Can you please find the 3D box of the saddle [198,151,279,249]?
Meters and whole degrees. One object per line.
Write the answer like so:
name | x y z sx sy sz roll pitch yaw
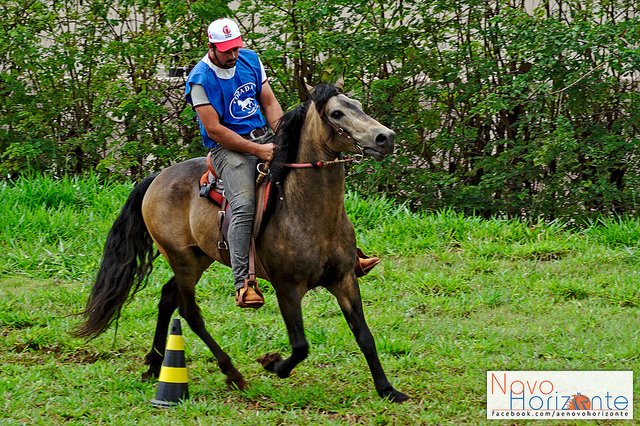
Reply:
saddle | -0.775 -0.159 6.841 1.221 0.897 0.451 4 -7 9
